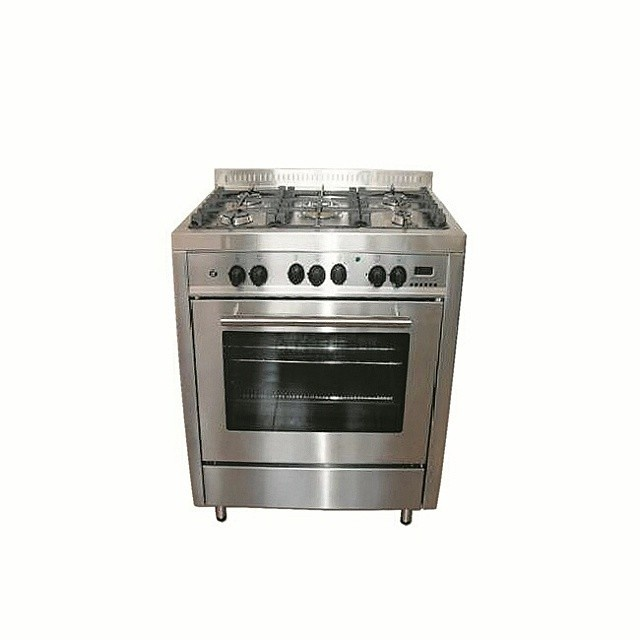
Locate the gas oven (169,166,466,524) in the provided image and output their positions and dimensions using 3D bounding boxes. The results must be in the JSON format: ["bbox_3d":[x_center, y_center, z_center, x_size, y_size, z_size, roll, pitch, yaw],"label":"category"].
[{"bbox_3d":[-0.009,0.089,3.461,1.231,1.028,1.341,-1,-74,-4],"label":"gas oven"}]
